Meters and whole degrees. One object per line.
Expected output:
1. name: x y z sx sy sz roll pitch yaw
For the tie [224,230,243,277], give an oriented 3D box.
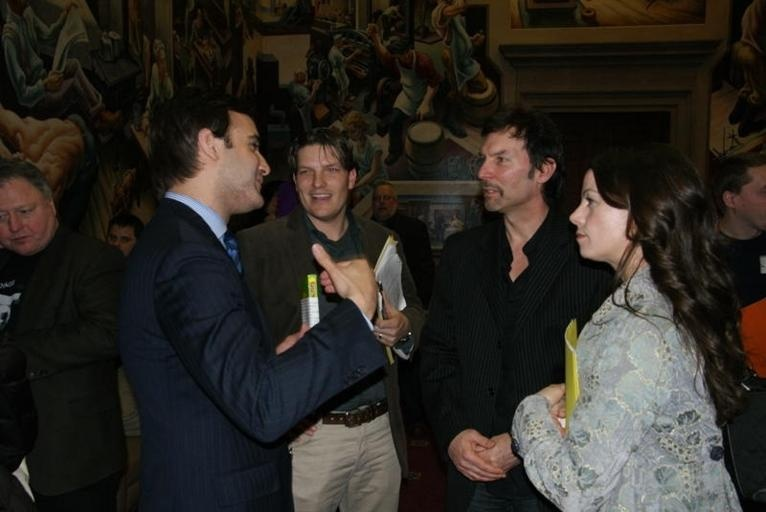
1. tie: -0.658 -0.012 2.737 0.036 0.170 0.098 -12 2 17
